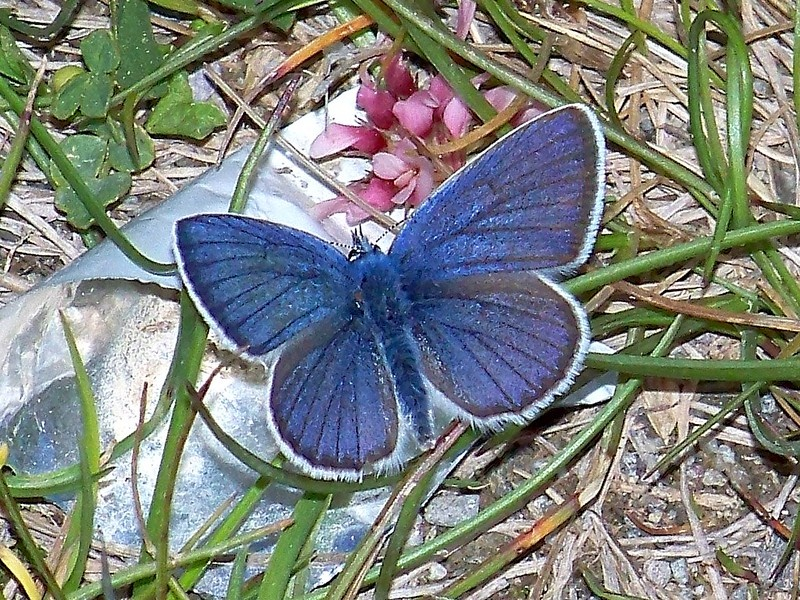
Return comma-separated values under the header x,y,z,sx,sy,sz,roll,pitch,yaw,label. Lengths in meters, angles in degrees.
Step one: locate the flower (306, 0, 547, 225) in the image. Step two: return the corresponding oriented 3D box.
x,y,z,sx,sy,sz,roll,pitch,yaw,label
0.025,-0.351,1.944,0.407,0.455,0.169,19,-8,13,flower
